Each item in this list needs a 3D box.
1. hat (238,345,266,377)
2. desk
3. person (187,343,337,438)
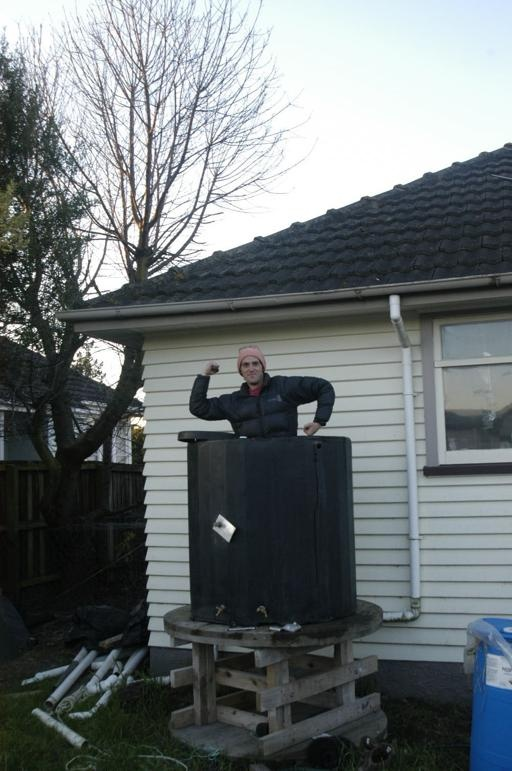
[{"bbox_3d":[-0.027,-0.165,4.670,0.175,0.171,0.183,-3,-12,0],"label":"hat"},{"bbox_3d":[0.099,1.762,4.495,1.103,0.820,1.222,-1,-7,-45],"label":"desk"},{"bbox_3d":[0.015,0.059,4.665,0.904,0.593,0.303,-10,-6,33],"label":"person"}]
